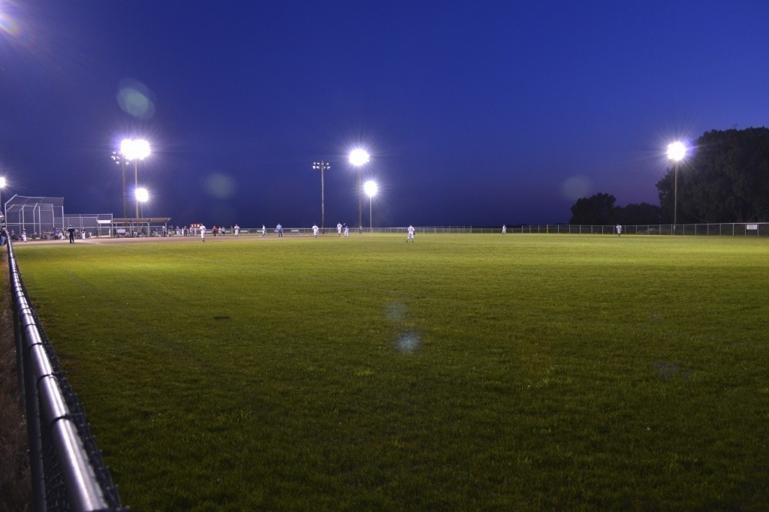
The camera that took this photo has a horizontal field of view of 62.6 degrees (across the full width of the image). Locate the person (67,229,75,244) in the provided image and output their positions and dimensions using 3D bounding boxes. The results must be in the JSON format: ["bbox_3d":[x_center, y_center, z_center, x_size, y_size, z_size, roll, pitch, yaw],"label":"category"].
[{"bbox_3d":[-23.834,-1.533,47.976,0.275,1.132,1.024,-5,13,-18],"label":"person"}]
